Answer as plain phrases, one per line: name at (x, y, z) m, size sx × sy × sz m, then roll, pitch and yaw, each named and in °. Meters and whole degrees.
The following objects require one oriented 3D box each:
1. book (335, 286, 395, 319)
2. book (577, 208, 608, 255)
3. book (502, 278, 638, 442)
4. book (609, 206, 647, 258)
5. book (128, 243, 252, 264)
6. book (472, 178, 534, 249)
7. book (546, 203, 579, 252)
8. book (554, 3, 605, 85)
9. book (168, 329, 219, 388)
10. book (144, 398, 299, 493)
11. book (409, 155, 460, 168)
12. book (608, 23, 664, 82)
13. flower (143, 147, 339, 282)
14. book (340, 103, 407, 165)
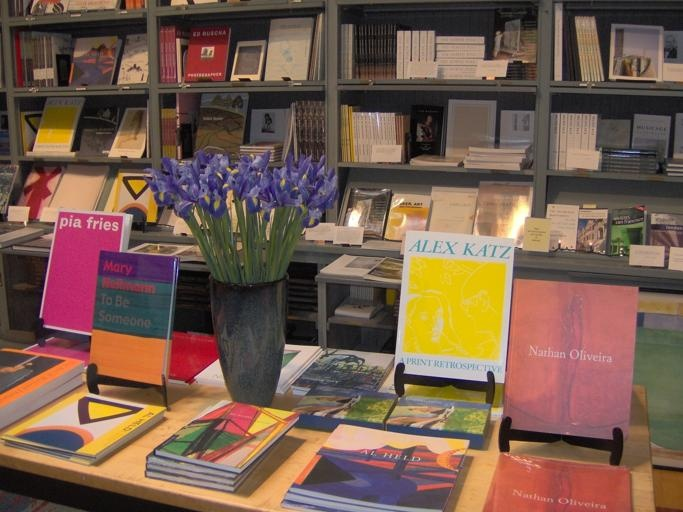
book at (0.158, 0.316, 3.541) m, size 0.273 × 0.058 × 0.270 m, roll 4°, pitch 20°, yaw 21°
book at (1.471, -0.149, 3.108) m, size 0.161 × 0.257 × 0.090 m, roll 5°, pitch 8°, yaw 21°
book at (0.613, 0.253, 1.394) m, size 0.415 × 0.377 × 0.096 m, roll 4°, pitch -3°, yaw 15°
book at (1.663, -0.145, 3.087) m, size 0.203 × 0.284 × 0.145 m, roll 5°, pitch 8°, yaw 19°
book at (-1.118, -0.034, 3.470) m, size 0.414 × 0.083 × 0.268 m, roll 4°, pitch 10°, yaw 17°
book at (1.014, -0.285, 3.314) m, size 0.522 × 0.451 × 0.116 m, roll 1°, pitch -16°, yaw 19°
book at (1.306, -0.171, 3.143) m, size 0.183 × 0.258 × 0.085 m, roll 4°, pitch 8°, yaw 14°
book at (1.350, -1.215, 3.053) m, size 0.367 × 0.442 × 0.123 m, roll -4°, pitch -6°, yaw 4°
book at (-0.508, 0.369, 1.816) m, size 0.161 × 0.033 × 0.153 m, roll 7°, pitch 20°, yaw 16°
book at (-0.289, 0.475, 1.363) m, size 0.263 × 0.108 × 0.320 m, roll 5°, pitch 9°, yaw 23°
book at (0.610, -0.609, 3.410) m, size 0.331 × 0.080 × 0.164 m, roll 3°, pitch 8°, yaw 11°
book at (1.726, -1.196, 3.102) m, size 0.292 × 0.330 × 0.179 m, roll 5°, pitch 8°, yaw 21°
flower at (-0.270, -0.133, 1.537) m, size 0.433 × 0.304 × 0.469 m, roll -2°, pitch 3°, yaw 13°
book at (0.196, -0.780, 3.467) m, size 0.454 × 0.373 × 0.229 m, roll 3°, pitch 11°, yaw 11°
